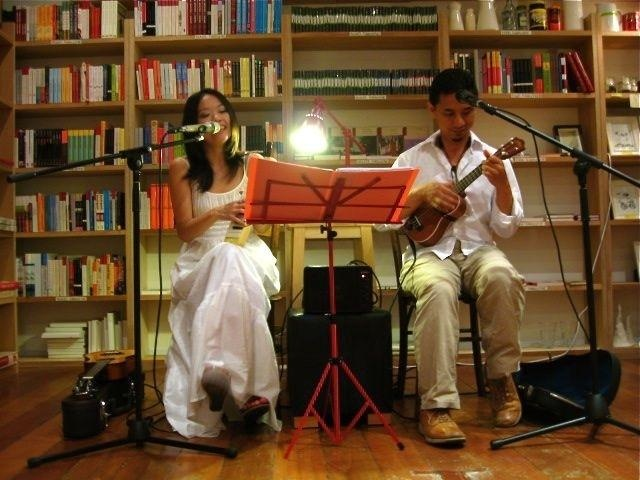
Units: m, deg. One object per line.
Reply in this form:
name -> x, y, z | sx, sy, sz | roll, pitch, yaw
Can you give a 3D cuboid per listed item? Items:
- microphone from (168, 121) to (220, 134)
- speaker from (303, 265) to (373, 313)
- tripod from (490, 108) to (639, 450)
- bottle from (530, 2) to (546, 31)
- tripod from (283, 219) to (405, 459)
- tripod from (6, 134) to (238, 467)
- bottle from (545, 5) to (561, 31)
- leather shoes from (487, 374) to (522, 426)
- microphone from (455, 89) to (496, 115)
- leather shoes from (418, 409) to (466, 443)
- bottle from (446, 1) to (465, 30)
microphone -> -0.637, -0.564, 3.309 | 0.228, 0.058, 0.295 | -3, 11, -13
speaker -> 0.107, 0.263, 3.508 | 0.393, 0.302, 0.229 | 0, 4, -5
tripod -> 1.300, 0.147, 3.407 | 0.759, 1.625, 0.876 | 2, 9, 15
bottle -> 1.595, -1.622, 4.756 | 0.125, 0.193, 0.076 | 2, 9, 17
tripod -> 0.111, 0.459, 3.333 | 0.601, 1.091, 0.464 | -1, 9, -4
tripod -> -0.881, 0.351, 4.143 | 1.419, 2.393, 1.269 | 1, -3, -12
bottle -> 1.731, -1.611, 4.759 | 0.118, 0.194, 0.154 | 0, 9, 5
leather shoes -> 0.978, 0.845, 3.441 | 0.102, 0.131, 0.336 | -16, 39, 20
microphone -> 0.785, -0.694, 3.276 | 0.151, 0.120, 0.238 | -3, 10, -16
leather shoes -> 0.619, 0.923, 3.246 | 0.102, 0.129, 0.257 | 2, -9, -15
bottle -> 0.994, -1.609, 4.735 | 0.104, 0.206, 0.154 | 0, 9, 6
